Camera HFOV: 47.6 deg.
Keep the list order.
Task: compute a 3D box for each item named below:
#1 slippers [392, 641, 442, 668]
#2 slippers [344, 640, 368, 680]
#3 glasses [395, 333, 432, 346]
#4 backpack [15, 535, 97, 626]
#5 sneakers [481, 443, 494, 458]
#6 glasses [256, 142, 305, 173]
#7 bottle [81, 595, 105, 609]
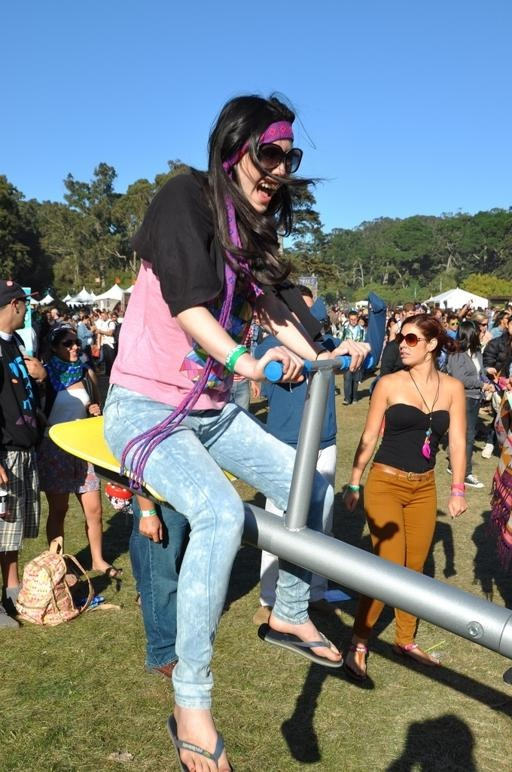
[{"bbox_3d":[0.977,1.612,3.534,0.270,0.104,0.092,1,0,36],"label":"slippers"},{"bbox_3d":[0.576,1.562,3.311,0.080,0.090,0.235,5,-4,7],"label":"slippers"},{"bbox_3d":[0.961,-0.301,3.657,0.106,0.042,0.102,16,-10,-31],"label":"glasses"},{"bbox_3d":[-1.398,1.352,4.051,0.504,0.534,0.461,12,-14,-43],"label":"backpack"},{"bbox_3d":[3.630,1.049,9.125,0.154,0.159,0.412,8,-26,25],"label":"sneakers"},{"bbox_3d":[0.068,-0.627,1.606,0.150,0.079,0.045,0,4,-43],"label":"glasses"},{"bbox_3d":[-1.127,1.476,4.010,0.111,0.080,0.032,6,47,-55],"label":"bottle"}]
